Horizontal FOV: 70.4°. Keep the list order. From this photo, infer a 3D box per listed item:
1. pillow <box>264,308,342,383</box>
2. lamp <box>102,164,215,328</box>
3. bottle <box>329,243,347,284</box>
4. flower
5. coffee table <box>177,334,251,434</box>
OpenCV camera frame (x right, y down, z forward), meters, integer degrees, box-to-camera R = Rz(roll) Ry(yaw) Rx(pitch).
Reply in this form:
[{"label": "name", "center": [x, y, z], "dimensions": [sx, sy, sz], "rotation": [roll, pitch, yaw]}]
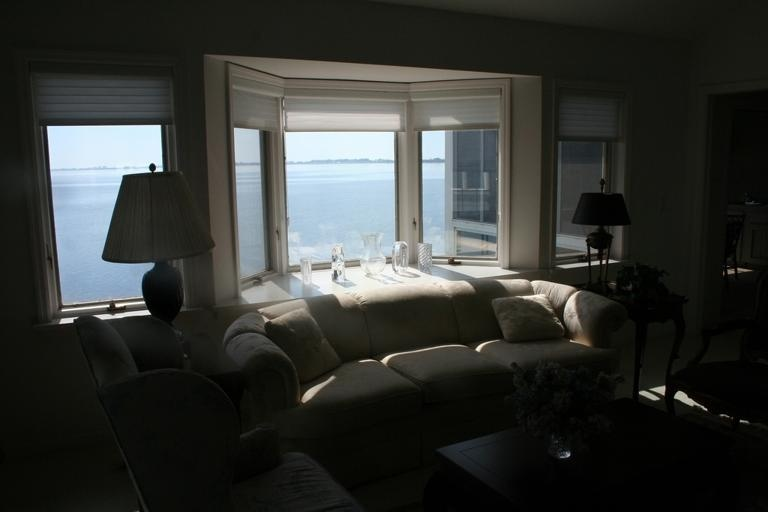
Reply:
[{"label": "pillow", "center": [-0.651, 0.715, 4.057], "dimensions": [0.149, 0.483, 0.499], "rotation": [-41, -9, 30]}, {"label": "lamp", "center": [-1.407, -0.049, 3.410], "dimensions": [0.638, 1.033, 0.235], "rotation": [-7, 11, -27]}, {"label": "bottle", "center": [-0.432, 0.059, 5.095], "dimensions": [0.140, 0.330, 0.288], "rotation": [-3, 10, -5]}, {"label": "flower", "center": [1.013, 0.829, 3.222], "dimensions": [0.562, 0.528, 0.611], "rotation": [-3, 6, -36]}, {"label": "coffee table", "center": [-0.962, 0.706, 3.077], "dimensions": [0.250, 0.391, 0.670], "rotation": [-5, 20, -32]}]
